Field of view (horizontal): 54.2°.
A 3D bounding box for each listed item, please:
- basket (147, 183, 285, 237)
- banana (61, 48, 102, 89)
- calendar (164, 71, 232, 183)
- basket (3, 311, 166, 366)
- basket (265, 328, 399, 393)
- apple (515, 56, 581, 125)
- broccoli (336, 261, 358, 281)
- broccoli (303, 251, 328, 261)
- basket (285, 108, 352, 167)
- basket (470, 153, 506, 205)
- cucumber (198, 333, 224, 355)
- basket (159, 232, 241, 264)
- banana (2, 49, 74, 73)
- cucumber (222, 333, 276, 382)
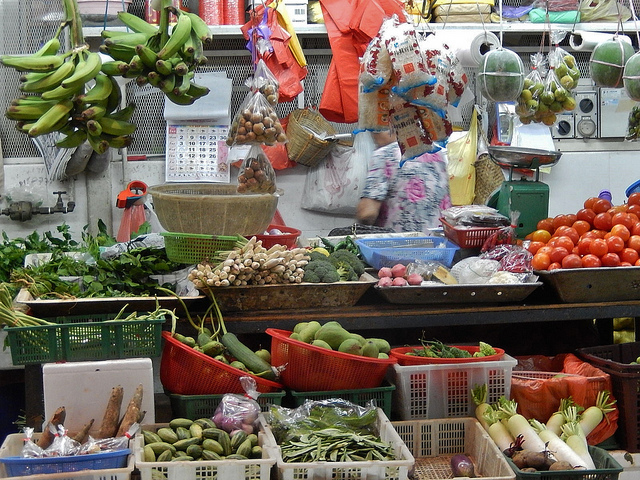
[{"bbox_3d":[-0.536,-0.171,3.272,0.670,0.252,0.464,-1,13,6],"label":"basket"},{"bbox_3d":[-0.885,-0.651,2.345,0.109,0.154,0.175,0,12,8],"label":"banana"},{"bbox_3d":[-1.024,-0.960,5.271,0.539,1.083,0.239,0,-24,-9],"label":"calendar"},{"bbox_3d":[-0.990,0.407,2.741,0.642,0.198,0.276,-4,12,-7],"label":"basket"},{"bbox_3d":[0.049,0.576,2.780,0.544,0.273,0.564,1,-17,13],"label":"basket"},{"bbox_3d":[1.333,-0.949,3.715,0.410,0.207,0.329,-19,54,-18],"label":"apple"},{"bbox_3d":[0.139,0.151,3.099,0.059,0.079,0.090,-32,-6,28],"label":"broccoli"},{"bbox_3d":[-0.022,0.070,3.099,0.066,0.039,0.052,-7,27,-37],"label":"broccoli"},{"bbox_3d":[-0.085,-0.892,5.219,0.508,0.375,0.467,28,18,-46],"label":"basket"},{"bbox_3d":[1.482,-0.542,5.480,0.256,0.448,0.118,2,12,17],"label":"basket"},{"bbox_3d":[-0.480,0.438,2.709,0.059,0.049,0.104,-19,21,-22],"label":"cucumber"},{"bbox_3d":[-0.593,0.036,3.175,0.397,0.170,0.351,3,3,-25],"label":"basket"},{"bbox_3d":[-1.088,-0.663,2.324,0.347,0.097,0.144,-10,19,-20],"label":"banana"},{"bbox_3d":[-0.310,0.473,2.759,0.264,0.172,0.254,-5,9,-9],"label":"cucumber"}]
